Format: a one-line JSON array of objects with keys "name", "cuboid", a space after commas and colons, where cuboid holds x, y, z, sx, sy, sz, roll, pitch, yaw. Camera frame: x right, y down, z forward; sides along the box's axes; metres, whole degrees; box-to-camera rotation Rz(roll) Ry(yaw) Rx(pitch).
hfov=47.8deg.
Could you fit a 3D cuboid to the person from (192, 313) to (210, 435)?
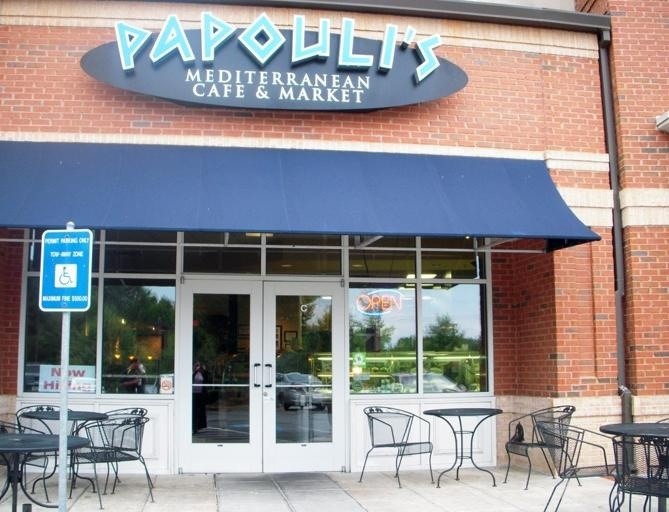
[{"name": "person", "cuboid": [-2.302, 2.020, 12.618, 0.196, 1.955, 0.181, 4, 7, 19]}]
